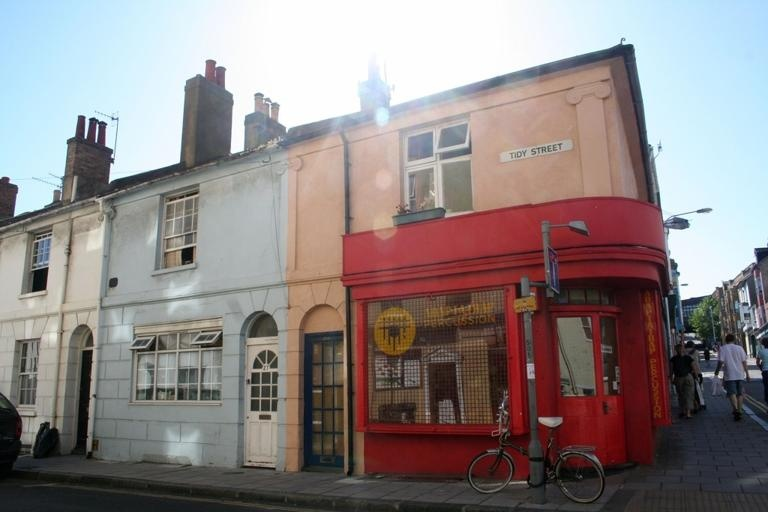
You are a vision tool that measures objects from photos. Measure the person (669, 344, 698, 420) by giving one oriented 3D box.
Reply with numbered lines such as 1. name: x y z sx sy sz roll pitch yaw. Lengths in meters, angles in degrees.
1. person: 9.884 4.095 20.674 0.717 2.381 1.093 -5 -4 27
